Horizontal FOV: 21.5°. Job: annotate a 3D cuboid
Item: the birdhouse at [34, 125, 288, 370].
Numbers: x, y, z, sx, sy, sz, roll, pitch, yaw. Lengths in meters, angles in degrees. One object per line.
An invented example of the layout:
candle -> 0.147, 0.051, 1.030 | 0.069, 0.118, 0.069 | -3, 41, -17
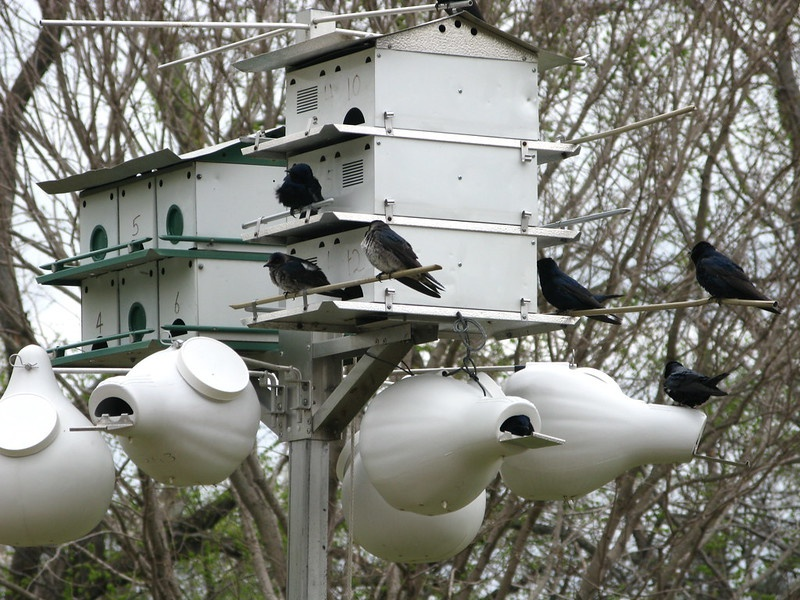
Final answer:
birdhouse -> -2.200, -0.386, 19.795 | 1.494, 1.903, 2.377 | 3, -8, -41

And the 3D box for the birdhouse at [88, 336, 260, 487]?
birdhouse -> -1.877, 0.928, 17.789 | 1.174, 1.263, 1.478 | 3, -3, 41

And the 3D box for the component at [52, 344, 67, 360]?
component -> -3.199, 0.503, 19.731 | 0.071, 0.102, 0.273 | 1, -12, -17

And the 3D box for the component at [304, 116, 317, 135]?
component -> -0.782, -1.490, 18.097 | 0.127, 0.228, 0.080 | 4, -36, 2

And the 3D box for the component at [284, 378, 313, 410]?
component -> -0.902, 0.845, 18.565 | 0.248, 0.264, 0.117 | 0, -1, 11

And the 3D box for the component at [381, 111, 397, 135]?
component -> -0.106, -1.487, 17.760 | 0.092, 0.191, 0.070 | 0, -1, -2

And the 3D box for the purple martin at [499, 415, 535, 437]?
purple martin -> 0.913, 1.012, 16.939 | 0.134, 0.149, 0.366 | 1, -1, -43

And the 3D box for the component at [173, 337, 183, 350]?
component -> -1.880, 0.384, 17.789 | 0.062, 0.044, 0.090 | 0, 14, -1

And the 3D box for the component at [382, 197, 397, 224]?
component -> -0.103, -0.739, 17.606 | 0.085, 0.206, 0.072 | 0, -1, 0

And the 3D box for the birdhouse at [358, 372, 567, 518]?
birdhouse -> 0.455, 1.157, 17.078 | 0.903, 1.022, 1.591 | 22, -23, -31

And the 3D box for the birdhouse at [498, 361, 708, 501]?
birdhouse -> 1.728, 1.080, 17.636 | 1.542, 1.006, 0.965 | -2, -27, 21

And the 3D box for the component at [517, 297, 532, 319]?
component -> 1.038, 0.085, 17.776 | 0.085, 0.180, 0.147 | 0, -1, 4
